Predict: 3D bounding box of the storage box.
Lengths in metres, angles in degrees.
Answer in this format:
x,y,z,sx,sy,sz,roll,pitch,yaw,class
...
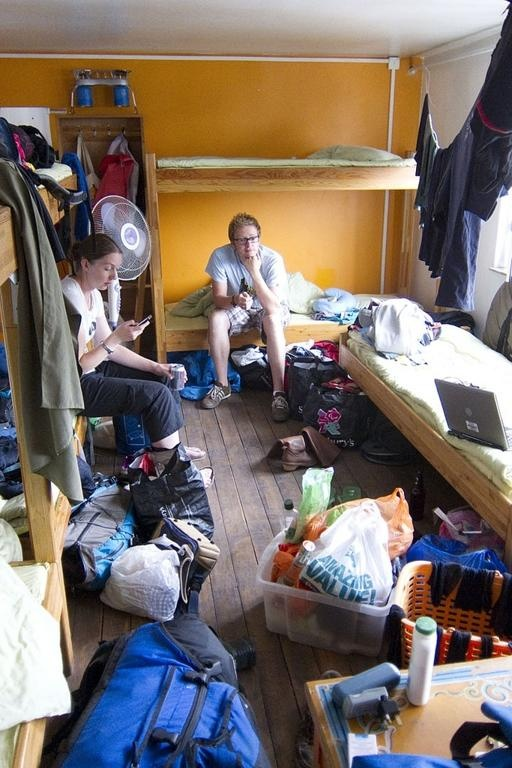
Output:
x,y,z,sx,sy,sz,roll,pitch,yaw,class
0.214,0.675,1.687,0.317,0.162,0.241,6,22,10,storage box

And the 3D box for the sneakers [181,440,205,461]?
x,y,z,sx,sy,sz,roll,pitch,yaw,class
-0.343,0.377,2.983,0.153,0.064,0.068,0,19,0,sneakers

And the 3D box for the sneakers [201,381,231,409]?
x,y,z,sx,sy,sz,roll,pitch,yaw,class
-0.272,0.077,3.716,0.096,0.114,0.266,26,30,9,sneakers

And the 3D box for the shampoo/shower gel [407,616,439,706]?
x,y,z,sx,sy,sz,roll,pitch,yaw,class
0.305,0.504,0.981,0.045,0.181,0.110,2,19,18,shampoo/shower gel

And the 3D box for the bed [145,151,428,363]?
x,y,z,sx,sy,sz,roll,pitch,yaw,class
0.154,-0.995,4.083,1.681,1.370,0.686,-2,21,-7,bed

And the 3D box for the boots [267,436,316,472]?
x,y,z,sx,sy,sz,roll,pitch,yaw,class
0.194,0.370,2.859,0.221,0.083,0.165,-18,28,-30,boots

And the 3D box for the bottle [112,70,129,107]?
x,y,z,sx,sy,sz,roll,pitch,yaw,class
-1.062,-2.286,4.141,0.130,0.242,0.189,-7,18,-10,bottle

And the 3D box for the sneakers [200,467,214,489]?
x,y,z,sx,sy,sz,roll,pitch,yaw,class
-0.252,0.466,2.714,0.049,0.042,0.140,8,48,-7,sneakers

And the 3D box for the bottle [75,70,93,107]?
x,y,z,sx,sy,sz,roll,pitch,yaw,class
-1.345,-2.260,4.094,0.137,0.244,0.180,-9,19,-16,bottle

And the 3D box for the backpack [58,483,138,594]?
x,y,z,sx,sy,sz,roll,pitch,yaw,class
-0.590,0.568,1.968,0.222,0.184,0.549,12,17,-6,backpack

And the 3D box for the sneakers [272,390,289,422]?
x,y,z,sx,sy,sz,roll,pitch,yaw,class
0.155,0.159,3.433,0.077,0.083,0.205,-3,23,-5,sneakers

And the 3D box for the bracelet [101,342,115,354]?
x,y,z,sx,sy,sz,roll,pitch,yaw,class
-0.663,-0.158,2.358,0.044,0.051,0.028,-7,18,-9,bracelet

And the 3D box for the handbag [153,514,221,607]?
x,y,z,sx,sy,sz,roll,pitch,yaw,class
-0.259,0.640,1.904,0.161,0.214,0.109,33,38,28,handbag
